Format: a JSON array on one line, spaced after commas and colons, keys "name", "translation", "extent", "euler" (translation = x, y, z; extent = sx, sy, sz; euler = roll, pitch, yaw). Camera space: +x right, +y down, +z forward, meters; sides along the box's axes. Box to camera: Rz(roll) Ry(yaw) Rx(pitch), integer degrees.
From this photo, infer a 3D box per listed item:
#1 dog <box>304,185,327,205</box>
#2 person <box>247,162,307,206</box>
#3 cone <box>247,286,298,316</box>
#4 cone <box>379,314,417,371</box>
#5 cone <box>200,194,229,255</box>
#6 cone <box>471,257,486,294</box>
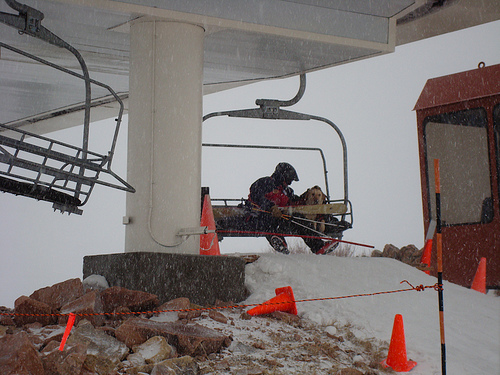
[{"name": "dog", "translation": [1.470, 0.192, 15.665], "extent": [0.491, 0.433, 0.538], "euler": [1, -3, -5]}, {"name": "person", "translation": [0.540, 0.039, 15.815], "extent": [1.020, 1.006, 0.862], "euler": [7, -6, 23]}, {"name": "cone", "translation": [0.372, 1.715, 10.420], "extent": [0.421, 0.422, 0.839], "euler": [-2, -4, 41]}, {"name": "cone", "translation": [2.071, 2.197, 9.879], "extent": [0.514, 0.787, 0.357], "euler": [0, -2, 3]}, {"name": "cone", "translation": [-0.678, 0.674, 12.393], "extent": [0.377, 1.103, 1.375], "euler": [0, -3, -3]}, {"name": "cone", "translation": [4.248, 1.652, 13.093], "extent": [0.272, 0.668, 0.196], "euler": [-1, -3, 27]}]
